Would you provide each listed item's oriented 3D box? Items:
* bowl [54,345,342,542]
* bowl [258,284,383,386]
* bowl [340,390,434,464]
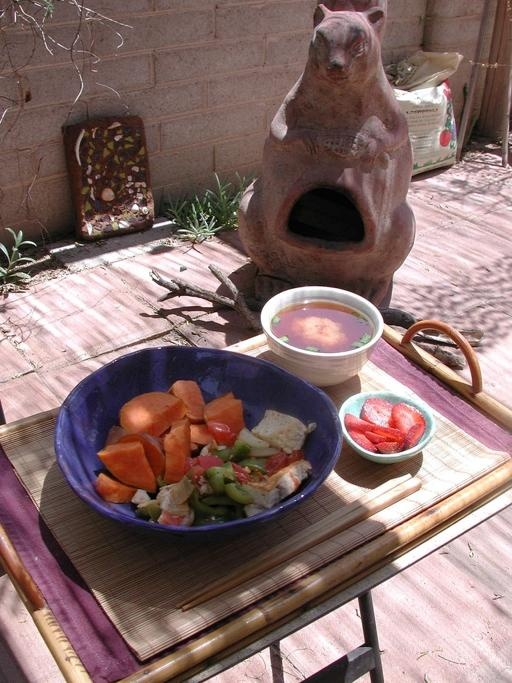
[{"bbox_3d":[-0.095,0.175,0.982,0.347,0.118,0.267,-15,34,-24],"label":"bowl"},{"bbox_3d":[0.143,-0.008,1.336,0.269,0.158,0.293,0,28,0],"label":"bowl"},{"bbox_3d":[0.242,0.154,1.126,0.149,0.056,0.133,-3,36,-6],"label":"bowl"}]
